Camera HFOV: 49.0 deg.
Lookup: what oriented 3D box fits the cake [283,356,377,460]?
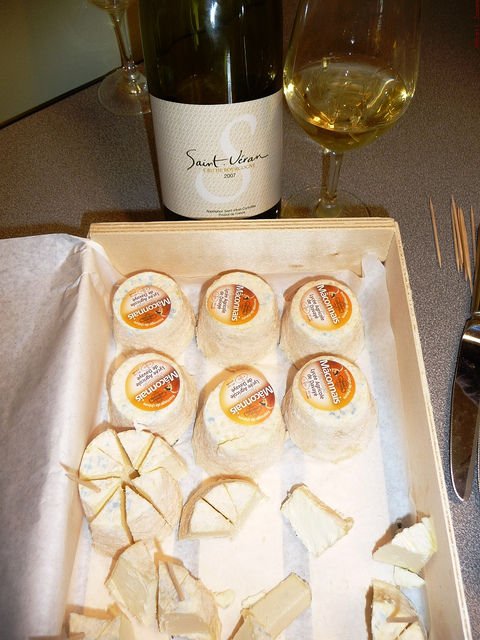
[{"bbox_3d":[0.097,0.096,0.574,0.089,0.062,0.096,-20,51,-13],"label":"cake"}]

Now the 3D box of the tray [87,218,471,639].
[{"bbox_3d":[0.099,0.011,0.595,0.291,0.147,0.544,-34,56,-23],"label":"tray"}]

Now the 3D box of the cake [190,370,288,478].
[{"bbox_3d":[-0.010,0.103,0.549,0.096,0.047,0.105,13,68,-3],"label":"cake"}]

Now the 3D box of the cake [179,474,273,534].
[{"bbox_3d":[-0.012,0.179,0.525,0.077,0.024,0.055,3,76,-4],"label":"cake"}]

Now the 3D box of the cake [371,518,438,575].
[{"bbox_3d":[0.150,0.204,0.479,0.041,0.052,0.020,51,31,9],"label":"cake"}]
